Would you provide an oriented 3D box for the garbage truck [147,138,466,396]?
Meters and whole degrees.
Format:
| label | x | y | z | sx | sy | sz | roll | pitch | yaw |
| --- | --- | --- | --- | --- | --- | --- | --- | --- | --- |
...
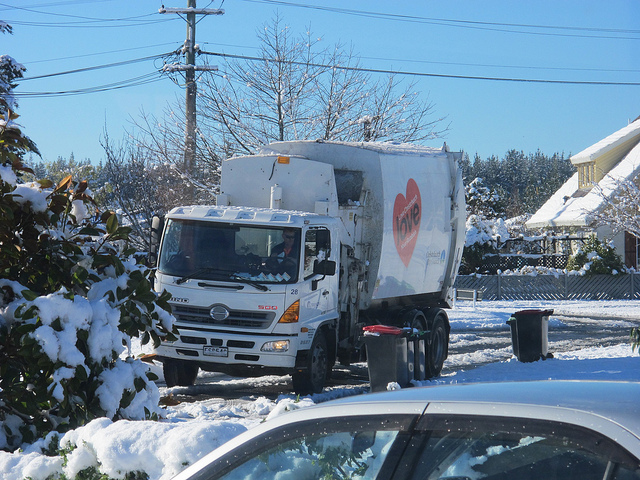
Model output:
| label | x | y | z | sx | sy | sz | roll | pitch | yaw |
| --- | --- | --- | --- | --- | --- | --- | --- | --- | --- |
| garbage truck | 0.205 | 0.346 | 16.866 | 2.805 | 3.916 | 7.231 | 3 | 1 | 24 |

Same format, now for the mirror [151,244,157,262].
| label | x | y | z | sx | sy | sz | roll | pitch | yaw |
| --- | --- | --- | --- | --- | --- | --- | --- | --- | --- |
| mirror | -2.409 | 0.182 | 14.282 | 0.046 | 0.214 | 0.112 | 7 | 0 | -28 |

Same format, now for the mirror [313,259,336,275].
| label | x | y | z | sx | sy | sz | roll | pitch | yaw |
| --- | --- | --- | --- | --- | --- | --- | --- | --- | --- |
| mirror | 0.077 | 0.399 | 13.974 | 0.314 | 0.255 | 0.196 | 2 | -5 | 2 |

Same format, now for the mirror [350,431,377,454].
| label | x | y | z | sx | sy | sz | roll | pitch | yaw |
| --- | --- | --- | --- | --- | --- | --- | --- | --- | --- |
| mirror | 0.279 | 1.304 | 6.267 | 0.194 | 0.145 | 0.039 | -6 | -1 | 30 |

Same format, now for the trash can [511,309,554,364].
| label | x | y | z | sx | sy | sz | roll | pitch | yaw |
| --- | --- | --- | --- | --- | --- | --- | --- | --- | --- |
| trash can | 3.644 | 1.627 | 16.620 | 0.799 | 1.108 | 0.635 | 1 | -6 | 11 |
